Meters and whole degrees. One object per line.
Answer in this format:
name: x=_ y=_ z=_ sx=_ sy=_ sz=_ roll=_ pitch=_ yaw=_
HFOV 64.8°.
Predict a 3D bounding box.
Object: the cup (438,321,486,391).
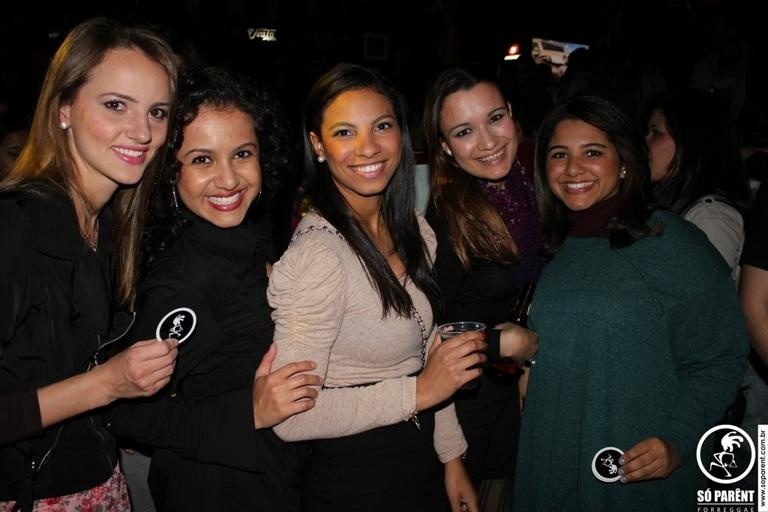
cup: x=0.409 y=0.571 z=3.482 sx=0.387 sy=0.366 sz=0.368 roll=-8 pitch=-3 yaw=0
